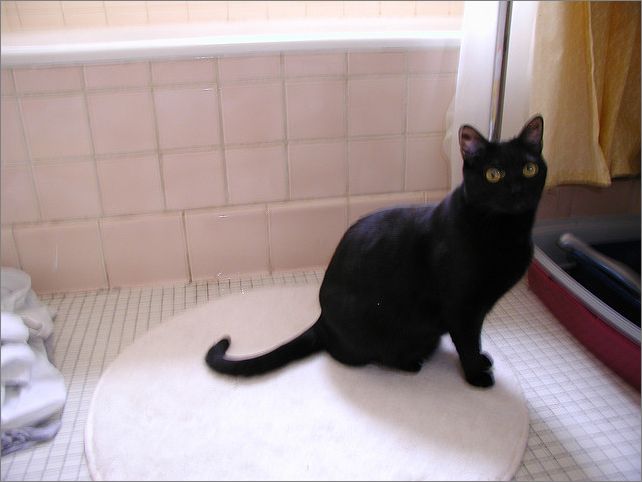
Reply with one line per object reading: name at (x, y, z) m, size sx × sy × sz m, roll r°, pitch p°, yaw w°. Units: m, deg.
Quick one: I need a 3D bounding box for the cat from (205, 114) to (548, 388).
cat at (0.082, 0.016, 0.757) m, size 0.481 × 0.427 × 0.155 m, roll 1°, pitch 32°, yaw 1°
